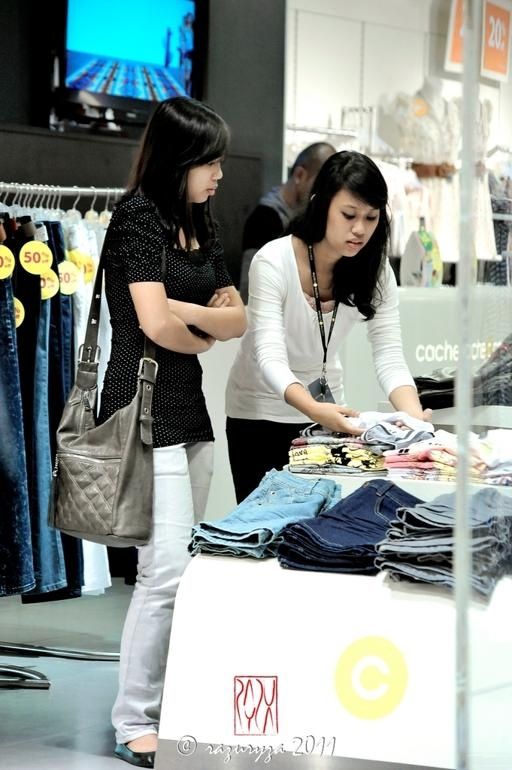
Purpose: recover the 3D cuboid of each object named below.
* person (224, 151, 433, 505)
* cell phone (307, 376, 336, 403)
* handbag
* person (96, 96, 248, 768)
[{"bbox_3d":[0.206,-0.122,1.929,0.622,1.151,0.596,-3,9,-4],"label":"person"},{"bbox_3d":[0.204,0.020,1.946,0.078,0.076,0.073,-2,9,-3],"label":"cell phone"},{"bbox_3d":[-0.403,0.205,1.584,0.264,0.418,0.160,3,11,29],"label":"handbag"},{"bbox_3d":[-0.222,0.150,1.746,0.272,1.810,0.536,7,13,44],"label":"person"}]
